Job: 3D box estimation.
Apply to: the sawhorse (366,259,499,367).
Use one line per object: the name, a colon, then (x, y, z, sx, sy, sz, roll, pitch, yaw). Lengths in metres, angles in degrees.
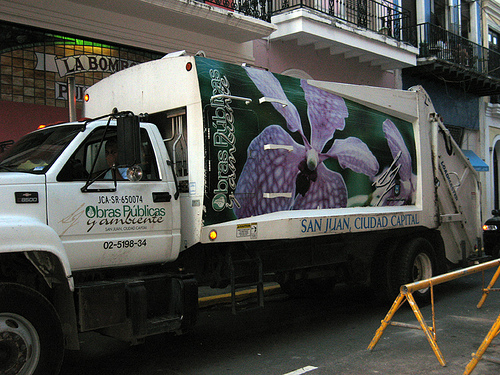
sawhorse: (3.058, 1.870, 8.411, 1.158, 1.148, 3.634, -5, -6, 37)

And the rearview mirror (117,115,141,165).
rearview mirror: (-1.456, -0.563, 6.213, 0.251, 0.608, 0.067, -1, 4, 45)

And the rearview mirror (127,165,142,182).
rearview mirror: (-1.470, -0.176, 6.400, 0.165, 0.207, 0.244, -2, 0, -28)
